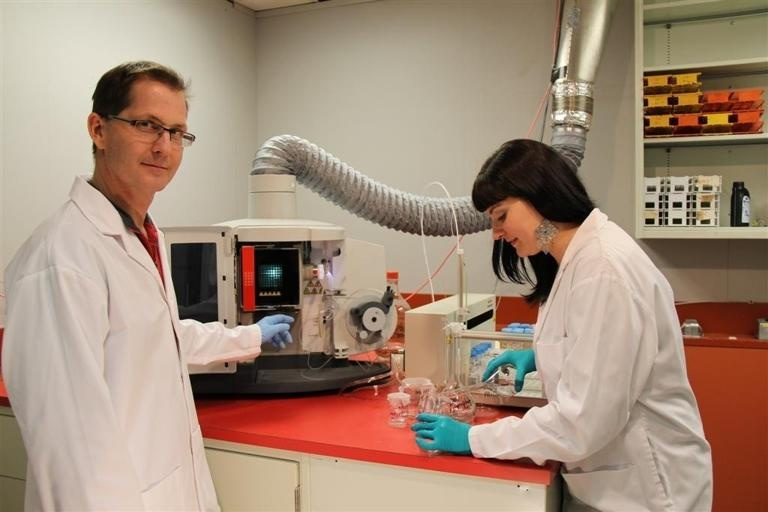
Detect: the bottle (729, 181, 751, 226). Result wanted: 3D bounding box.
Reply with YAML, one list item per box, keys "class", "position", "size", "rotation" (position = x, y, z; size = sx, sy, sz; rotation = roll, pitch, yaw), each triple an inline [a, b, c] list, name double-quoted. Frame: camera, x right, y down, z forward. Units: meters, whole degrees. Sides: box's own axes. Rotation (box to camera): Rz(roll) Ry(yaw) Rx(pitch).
- class: "bottle"
  position: [2.181, -0.314, 3.514]
  size: [0.108, 0.262, 0.233]
  rotation: [5, 12, 24]

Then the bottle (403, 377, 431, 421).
- class: "bottle"
  position: [0.137, 0.584, 2.335]
  size: [0.136, 0.145, 0.112]
  rotation: [1, 4, 25]

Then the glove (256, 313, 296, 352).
- class: "glove"
  position: [-0.471, 0.328, 2.518]
  size: [0.092, 0.114, 0.203]
  rotation: [-26, -16, 33]
